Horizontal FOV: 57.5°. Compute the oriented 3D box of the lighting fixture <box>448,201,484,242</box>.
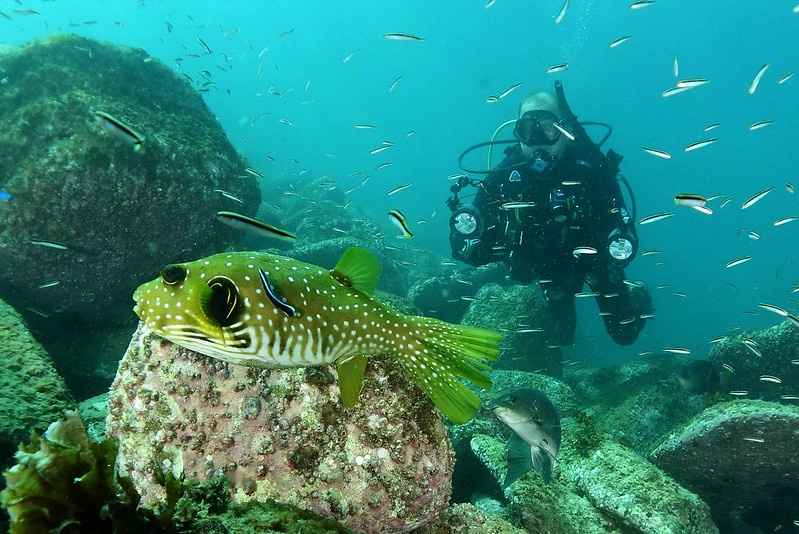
[{"bbox_3d":[1.728,-1.165,18.630,0.853,0.848,0.852,0,2,14],"label":"lighting fixture"}]

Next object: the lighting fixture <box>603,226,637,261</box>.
[{"bbox_3d":[5.421,-0.529,17.878,0.550,0.804,0.906,10,3,44],"label":"lighting fixture"}]
